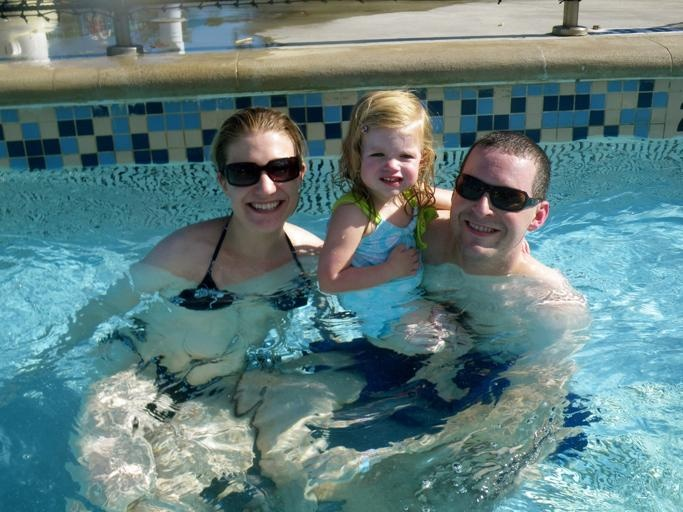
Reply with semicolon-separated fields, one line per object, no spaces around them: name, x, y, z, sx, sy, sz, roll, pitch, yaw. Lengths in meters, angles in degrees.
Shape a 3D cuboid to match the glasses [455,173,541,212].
glasses;0.682;-0.277;2.718;0.359;0.166;0.117;1;18;7
